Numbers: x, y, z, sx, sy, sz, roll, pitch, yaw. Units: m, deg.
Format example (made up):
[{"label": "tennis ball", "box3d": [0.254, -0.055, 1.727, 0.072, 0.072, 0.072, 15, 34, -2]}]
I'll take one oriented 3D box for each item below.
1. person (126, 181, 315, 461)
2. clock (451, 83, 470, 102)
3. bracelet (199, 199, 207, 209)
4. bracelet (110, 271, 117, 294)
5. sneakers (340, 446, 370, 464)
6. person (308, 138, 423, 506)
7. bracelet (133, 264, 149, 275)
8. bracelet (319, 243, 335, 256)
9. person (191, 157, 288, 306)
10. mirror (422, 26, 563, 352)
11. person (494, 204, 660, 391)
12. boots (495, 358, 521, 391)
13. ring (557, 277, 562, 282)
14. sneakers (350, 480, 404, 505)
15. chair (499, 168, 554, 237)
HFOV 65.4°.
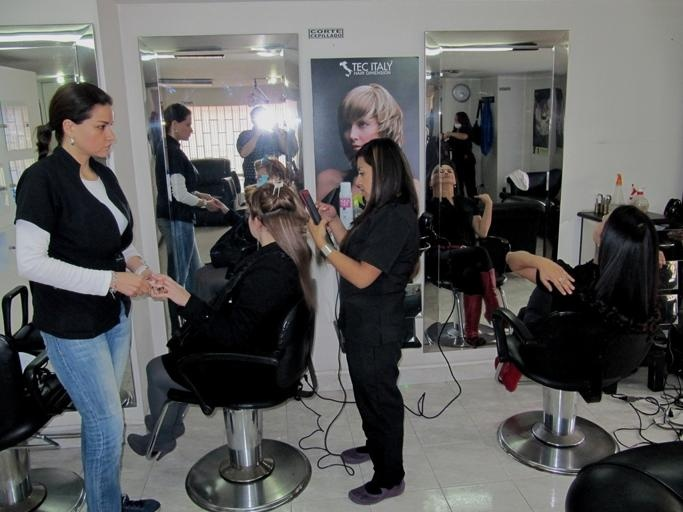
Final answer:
[{"label": "person", "box3d": [-0.624, 0.372, 2.587, 0.956, 1.408, 0.596, 4, 8, 0]}, {"label": "clock", "box3d": [0.745, -1.024, 3.323, 0.107, 0.112, 0.025, -14, 2, -5]}, {"label": "bracelet", "box3d": [-0.877, -0.331, 3.358, 0.031, 0.051, 0.044, -2, 2, 3]}, {"label": "bracelet", "box3d": [-0.931, 0.106, 2.187, 0.025, 0.085, 0.061, 4, 11, 3]}, {"label": "sneakers", "box3d": [0.073, 1.074, 2.905, 0.171, 0.054, 0.097, -2, 22, -11]}, {"label": "person", "box3d": [0.174, 0.314, 2.582, 0.478, 1.717, 0.338, -14, 17, -39]}, {"label": "bracelet", "box3d": [-0.933, 0.069, 2.496, 0.051, 0.039, 0.052, -33, 18, 10]}, {"label": "bracelet", "box3d": [-0.073, -0.029, 2.484, 0.068, 0.044, 0.065, -35, -11, -35]}, {"label": "person", "box3d": [-0.711, -0.061, 3.487, 0.561, 1.061, 0.392, 2, 37, -11]}, {"label": "mirror", "box3d": [1.036, -0.532, 3.543, 0.769, 1.695, 0.020, 2, 28, 20]}, {"label": "person", "box3d": [1.138, 0.271, 2.588, 0.691, 1.014, 0.433, 5, 15, 31]}, {"label": "boots", "box3d": [0.928, 0.639, 2.908, 0.045, 0.186, 0.102, 33, -31, -14]}, {"label": "ring", "box3d": [1.057, 0.111, 2.587, 0.021, 0.021, 0.005, 1, 0, 26]}, {"label": "sneakers", "box3d": [0.183, 1.153, 2.624, 0.211, 0.066, 0.113, 0, 5, -15]}, {"label": "chair", "box3d": [1.249, -0.359, 3.511, 0.287, 0.338, 0.341, 21, 46, 37]}]
